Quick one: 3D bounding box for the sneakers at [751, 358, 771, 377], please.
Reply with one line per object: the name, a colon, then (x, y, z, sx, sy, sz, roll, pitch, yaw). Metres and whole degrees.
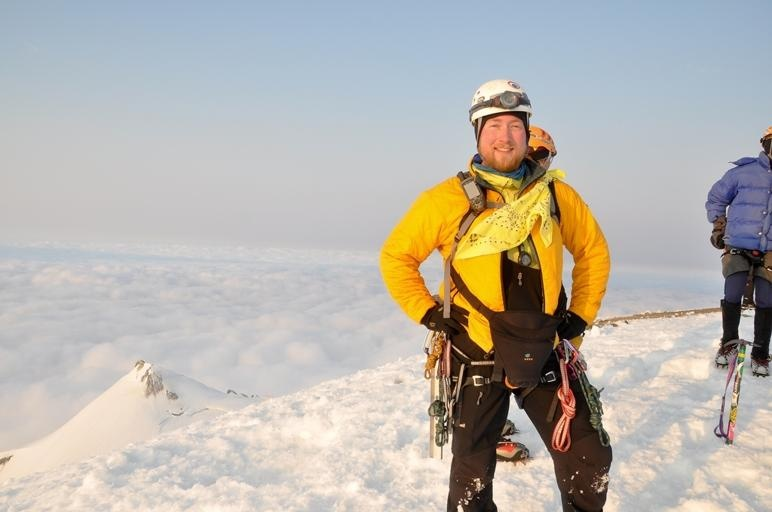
sneakers: (6.957, 2.050, 11.428, 0.342, 0.264, 0.287, 2, 15, 15)

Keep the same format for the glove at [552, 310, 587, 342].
glove: (2.355, 0.902, 7.885, 0.421, 0.422, 0.302, -14, 18, -33)
